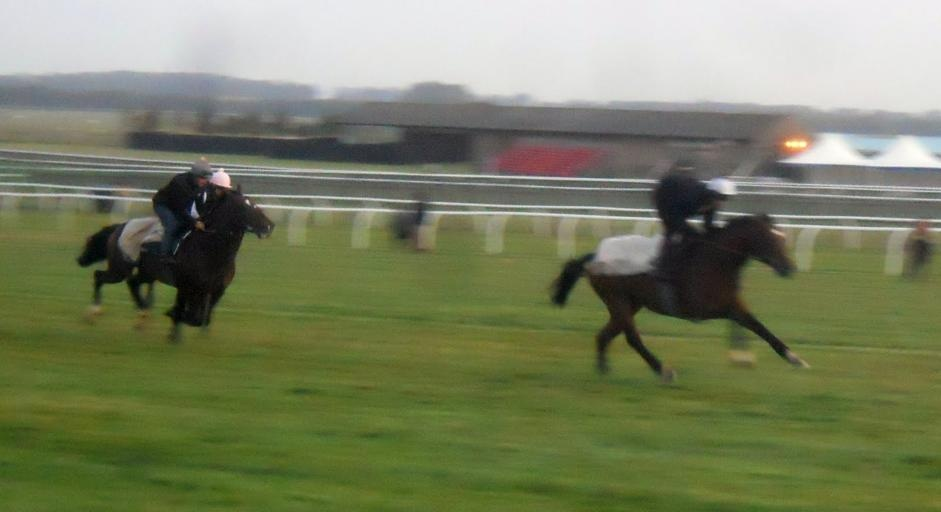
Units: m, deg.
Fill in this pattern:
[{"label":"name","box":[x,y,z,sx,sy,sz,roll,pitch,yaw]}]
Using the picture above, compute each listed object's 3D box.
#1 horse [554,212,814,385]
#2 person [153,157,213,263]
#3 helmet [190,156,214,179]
[{"label":"horse","box":[3.165,0.671,24.342,1.173,2.129,4.491,-5,-2,-45]},{"label":"person","box":[-4.337,-0.684,24.499,0.785,1.462,0.256,5,5,-9]},{"label":"helmet","box":[-4.018,-1.308,24.586,0.305,0.263,0.367,5,5,1]}]
